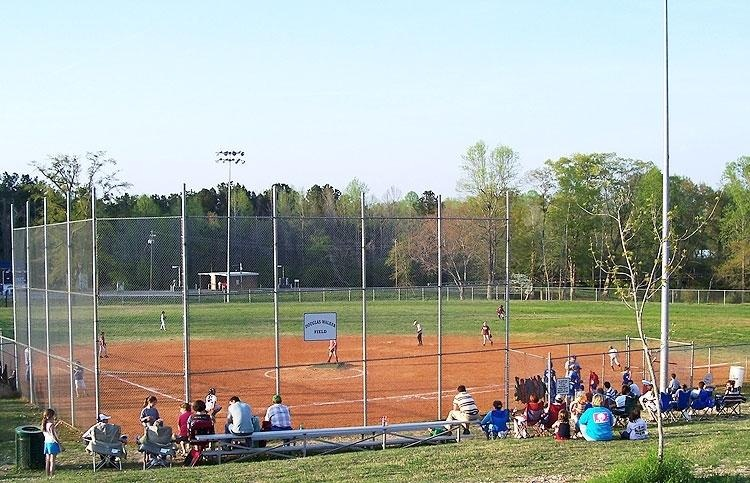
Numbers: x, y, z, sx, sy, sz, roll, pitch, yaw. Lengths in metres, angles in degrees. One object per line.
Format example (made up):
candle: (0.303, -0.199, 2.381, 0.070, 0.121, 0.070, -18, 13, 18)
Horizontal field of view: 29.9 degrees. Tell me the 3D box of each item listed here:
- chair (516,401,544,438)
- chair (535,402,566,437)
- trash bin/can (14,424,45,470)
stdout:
chair: (9.499, 10.717, 84.297, 1.544, 2.201, 1.760, -4, -14, 11)
chair: (10.462, 10.466, 84.470, 1.644, 2.151, 1.757, 5, -12, -15)
trash bin/can: (-20.236, 12.004, 82.961, 2.175, 2.251, 2.108, 2, -6, -27)
